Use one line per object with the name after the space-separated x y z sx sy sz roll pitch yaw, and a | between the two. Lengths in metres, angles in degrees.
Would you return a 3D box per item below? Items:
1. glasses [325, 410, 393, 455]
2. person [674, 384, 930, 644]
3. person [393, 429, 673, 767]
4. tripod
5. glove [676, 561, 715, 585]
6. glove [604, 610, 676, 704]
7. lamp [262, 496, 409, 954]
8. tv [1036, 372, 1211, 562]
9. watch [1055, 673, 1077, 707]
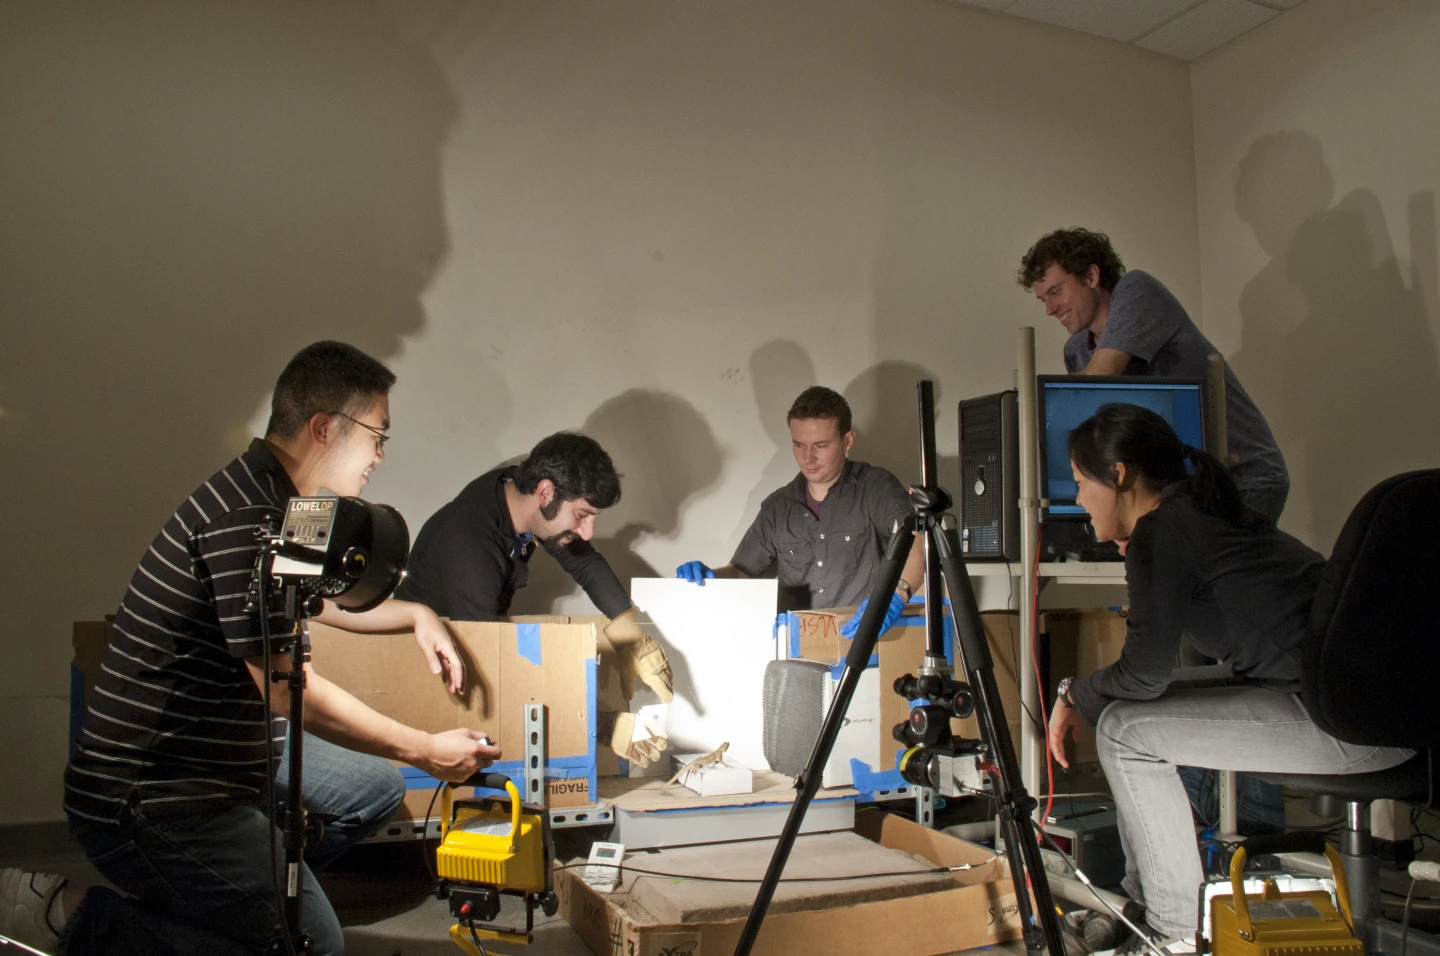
-1.092 -0.142 3.636 0.121 0.040 0.126 13 -8 30 | glasses
0.519 0.282 5.522 1.186 1.472 0.848 -6 -12 21 | person
-0.757 0.552 5.008 1.105 1.542 0.645 11 32 5 | person
0.581 0.559 3.716 0.873 1.661 0.563 -2 -11 15 | tripod
-0.099 0.388 4.946 0.082 0.104 0.177 -6 -11 2 | glove
-0.291 0.695 4.658 0.263 0.331 0.290 -1 -12 10 | glove
-1.103 0.657 3.232 0.427 1.203 0.317 -9 -15 44 | lamp
1.397 -0.022 4.185 0.665 0.697 0.069 0 -5 -1 | tv
1.167 0.722 4.081 0.089 0.106 0.067 4 10 -2 | watch
